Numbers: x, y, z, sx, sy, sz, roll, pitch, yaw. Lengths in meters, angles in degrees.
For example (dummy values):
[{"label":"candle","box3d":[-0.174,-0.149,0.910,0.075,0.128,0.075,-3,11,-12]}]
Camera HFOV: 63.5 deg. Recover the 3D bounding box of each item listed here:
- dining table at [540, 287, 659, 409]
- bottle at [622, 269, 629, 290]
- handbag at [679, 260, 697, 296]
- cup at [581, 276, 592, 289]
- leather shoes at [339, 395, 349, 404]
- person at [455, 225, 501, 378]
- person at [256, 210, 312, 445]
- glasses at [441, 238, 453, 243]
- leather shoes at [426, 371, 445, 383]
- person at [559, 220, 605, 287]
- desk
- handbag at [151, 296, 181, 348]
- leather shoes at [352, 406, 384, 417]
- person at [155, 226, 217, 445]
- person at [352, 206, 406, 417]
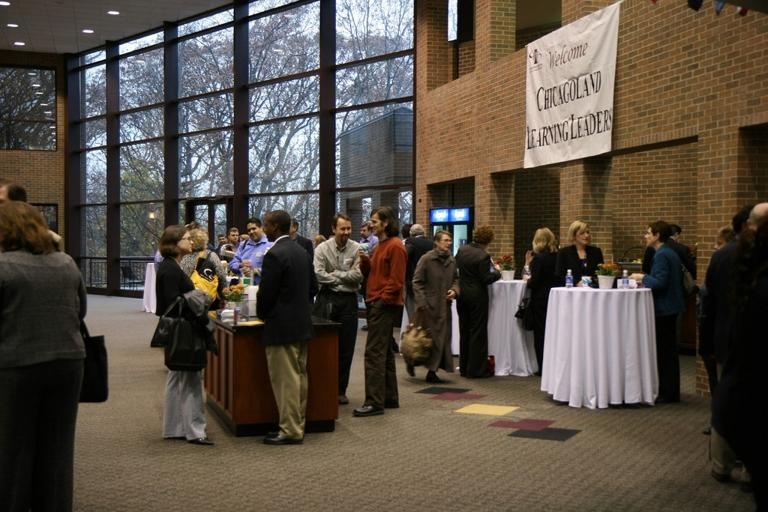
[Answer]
[{"label":"dining table","box3d":[2.662,1.134,8.104,1.363,1.270,1.412,1,0,-5]},{"label":"bottle","box3d":[2.998,0.290,7.702,0.070,0.197,0.286,1,3,21]},{"label":"handbag","box3d":[4.859,0.352,9.927,0.282,0.565,0.569,-4,1,8]},{"label":"cup","box3d":[2.565,0.343,7.843,0.117,0.216,0.134,-1,0,25]},{"label":"leather shoes","box3d":[-0.518,1.851,7.922,0.113,0.119,0.271,0,-10,-8]},{"label":"person","box3d":[1.387,0.705,9.392,0.611,2.301,0.380,0,3,6]},{"label":"person","box3d":[-1.021,0.746,6.417,0.575,2.431,0.296,-1,3,-13]},{"label":"glasses","box3d":[0.903,-0.229,9.013,0.130,0.038,0.126,4,-5,-41]},{"label":"leather shoes","box3d":[0.792,1.797,9.168,0.327,0.237,0.131,-1,0,-9]},{"label":"person","box3d":[2.712,-0.036,8.590,0.579,0.872,0.310,0,3,17]},{"label":"desk","box3d":[-1.273,1.031,7.124,1.038,1.066,2.095,1,0,-16]},{"label":"handbag","box3d":[-2.366,0.681,6.618,0.269,0.549,0.945,-2,3,-25]},{"label":"leather shoes","box3d":[-0.190,1.859,7.474,0.353,0.158,0.140,5,-7,-12]},{"label":"person","box3d":[-2.080,0.823,6.449,0.529,2.277,0.690,-2,3,-26]},{"label":"person","box3d":[-0.055,0.658,7.539,0.628,2.497,0.490,0,3,1]}]
